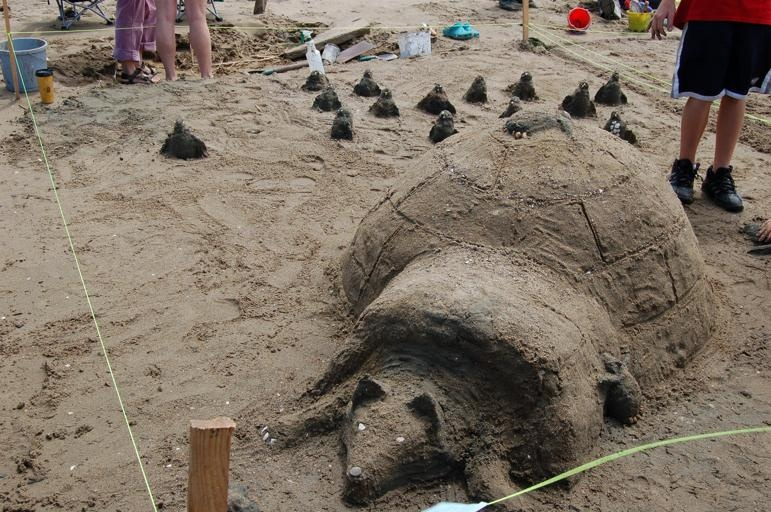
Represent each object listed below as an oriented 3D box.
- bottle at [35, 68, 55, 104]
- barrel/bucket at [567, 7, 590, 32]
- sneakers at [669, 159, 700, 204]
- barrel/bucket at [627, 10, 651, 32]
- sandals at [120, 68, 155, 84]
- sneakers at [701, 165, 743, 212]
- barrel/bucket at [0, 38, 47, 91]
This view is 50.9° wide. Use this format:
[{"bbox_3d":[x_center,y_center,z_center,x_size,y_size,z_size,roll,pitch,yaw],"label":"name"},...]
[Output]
[{"bbox_3d":[-4.158,-2.075,9.886,0.192,0.389,0.398,-8,25,-22],"label":"bottle"},{"bbox_3d":[3.377,-4.123,14.147,0.376,0.334,0.679,6,24,11],"label":"barrel/bucket"},{"bbox_3d":[2.916,-0.715,7.932,0.222,0.271,0.645,2,44,7],"label":"sneakers"},{"bbox_3d":[4.415,-4.084,14.167,0.418,0.322,0.395,2,23,-1],"label":"barrel/bucket"},{"bbox_3d":[-3.252,-2.327,10.543,0.434,0.178,0.224,-11,31,-22],"label":"sandals"},{"bbox_3d":[3.343,-0.672,8.082,0.223,0.286,0.615,-9,39,4],"label":"sneakers"},{"bbox_3d":[-4.538,-2.370,10.169,0.562,0.579,0.693,-8,25,-21],"label":"barrel/bucket"}]
